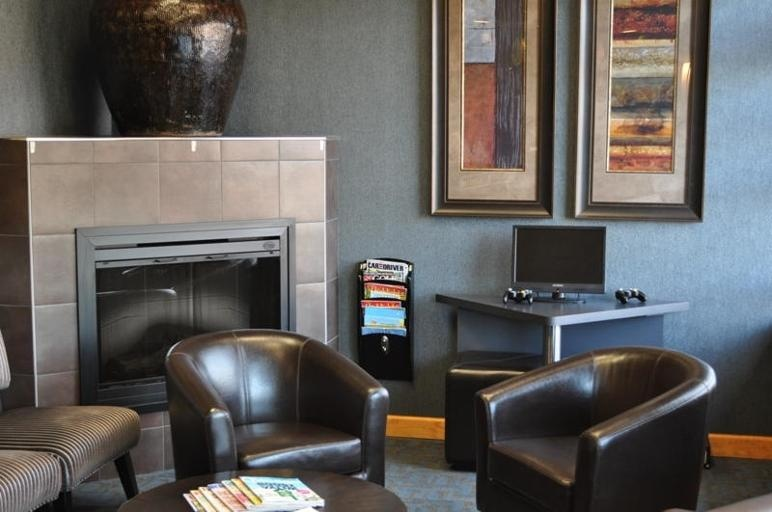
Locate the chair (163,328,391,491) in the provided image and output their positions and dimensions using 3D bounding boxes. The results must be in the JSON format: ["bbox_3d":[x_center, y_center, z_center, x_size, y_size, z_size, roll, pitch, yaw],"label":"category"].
[{"bbox_3d":[-0.645,0.773,3.835,1.080,0.829,0.933,3,-10,-27],"label":"chair"}]

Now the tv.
[{"bbox_3d":[1.086,0.045,4.481,0.574,0.388,0.141,0,-4,11],"label":"tv"}]

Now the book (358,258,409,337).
[{"bbox_3d":[-0.011,0.287,4.813,0.346,0.510,0.044,-1,6,10],"label":"book"}]
